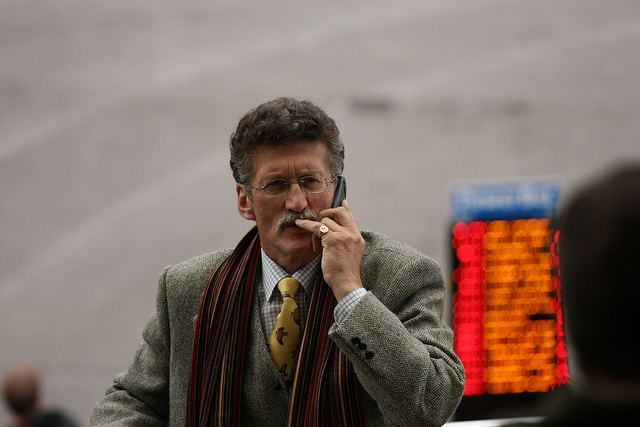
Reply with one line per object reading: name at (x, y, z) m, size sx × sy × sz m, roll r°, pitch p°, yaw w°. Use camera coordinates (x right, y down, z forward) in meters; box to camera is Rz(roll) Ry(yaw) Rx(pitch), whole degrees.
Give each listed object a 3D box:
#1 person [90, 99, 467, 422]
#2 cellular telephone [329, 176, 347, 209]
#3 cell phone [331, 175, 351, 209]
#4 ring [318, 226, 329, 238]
person at (-0.375, 0.300, 6.902) m, size 1.338 × 2.028 × 1.018 m, roll 0°, pitch -27°, yaw 1°
cellular telephone at (0.107, -0.110, 6.776) m, size 0.048 × 0.234 × 0.064 m, roll 18°, pitch -33°, yaw 3°
cell phone at (0.122, -0.133, 6.832) m, size 0.049 × 0.232 × 0.063 m, roll 17°, pitch -36°, yaw 6°
ring at (0.016, 0.096, 6.619) m, size 0.034 × 0.058 × 0.014 m, roll 10°, pitch -3°, yaw 9°
